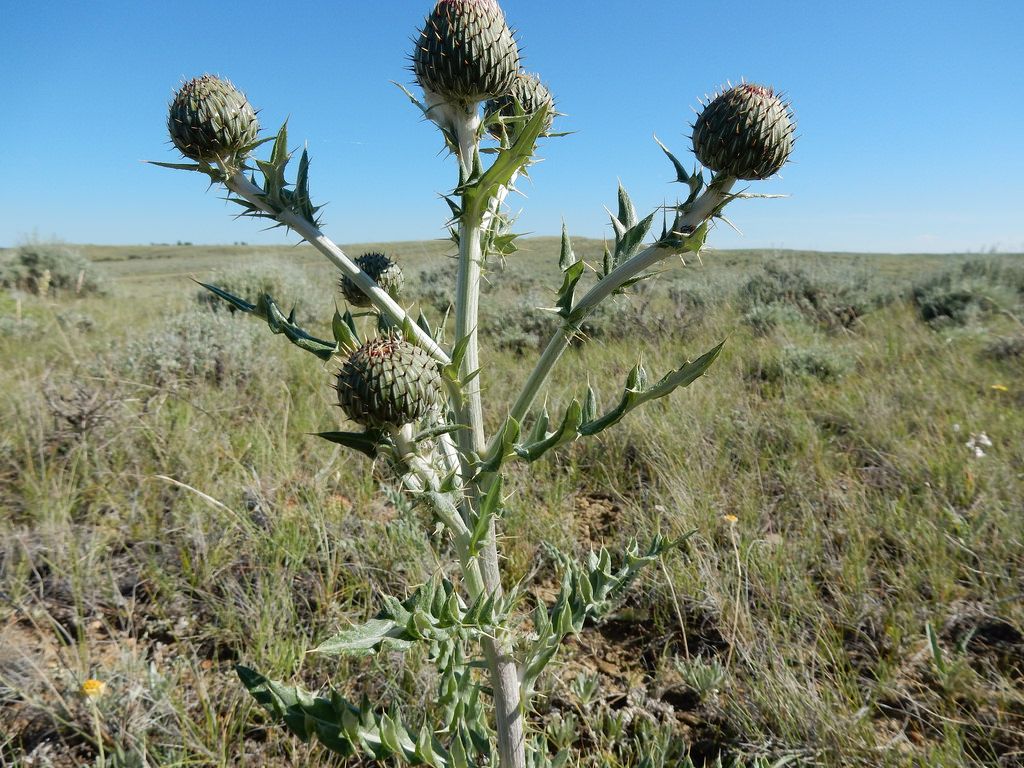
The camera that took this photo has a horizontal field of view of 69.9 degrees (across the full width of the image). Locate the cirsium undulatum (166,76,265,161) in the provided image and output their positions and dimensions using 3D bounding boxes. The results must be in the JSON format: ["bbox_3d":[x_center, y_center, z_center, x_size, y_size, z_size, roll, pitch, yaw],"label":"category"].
[{"bbox_3d":[-1.755,-1.472,4.270,0.445,0.520,0.467,-9,23,-24],"label":"cirsium undulatum"}]

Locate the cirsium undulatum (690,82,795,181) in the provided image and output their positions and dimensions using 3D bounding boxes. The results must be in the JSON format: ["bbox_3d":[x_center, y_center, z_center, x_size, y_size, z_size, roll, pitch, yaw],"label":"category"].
[{"bbox_3d":[1.378,-1.468,4.318,0.437,0.559,0.499,6,29,-27],"label":"cirsium undulatum"}]

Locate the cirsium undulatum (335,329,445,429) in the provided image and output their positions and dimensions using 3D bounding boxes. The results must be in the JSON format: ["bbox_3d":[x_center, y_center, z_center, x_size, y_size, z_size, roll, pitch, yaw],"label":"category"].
[{"bbox_3d":[-0.681,-0.017,4.059,0.428,0.504,0.472,1,-1,-3],"label":"cirsium undulatum"}]

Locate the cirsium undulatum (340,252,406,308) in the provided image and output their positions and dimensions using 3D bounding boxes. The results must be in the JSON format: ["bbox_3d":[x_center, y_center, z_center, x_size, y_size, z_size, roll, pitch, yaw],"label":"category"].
[{"bbox_3d":[-0.885,-0.639,4.606,0.397,0.309,0.711,2,16,-11],"label":"cirsium undulatum"}]
